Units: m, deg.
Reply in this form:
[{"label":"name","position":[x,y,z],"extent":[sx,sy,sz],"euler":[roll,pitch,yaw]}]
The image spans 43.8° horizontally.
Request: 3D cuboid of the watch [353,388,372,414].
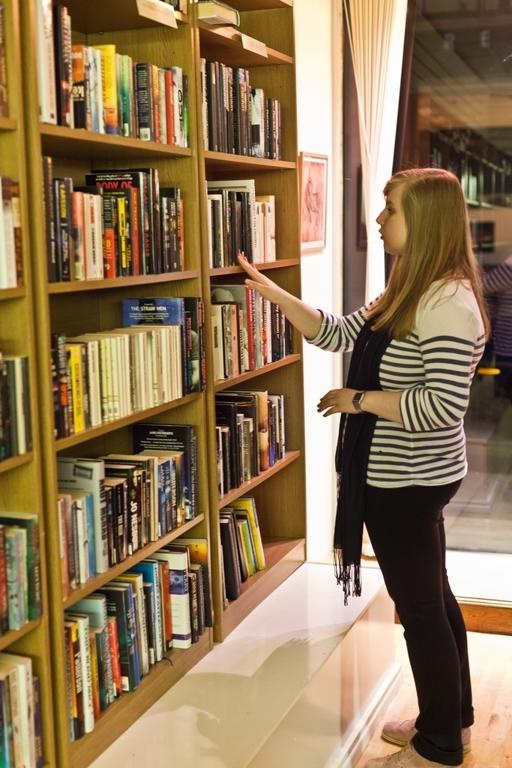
[{"label":"watch","position":[0.270,0.046,1.684],"extent":[0.037,0.059,0.052],"euler":[7,-17,40]}]
